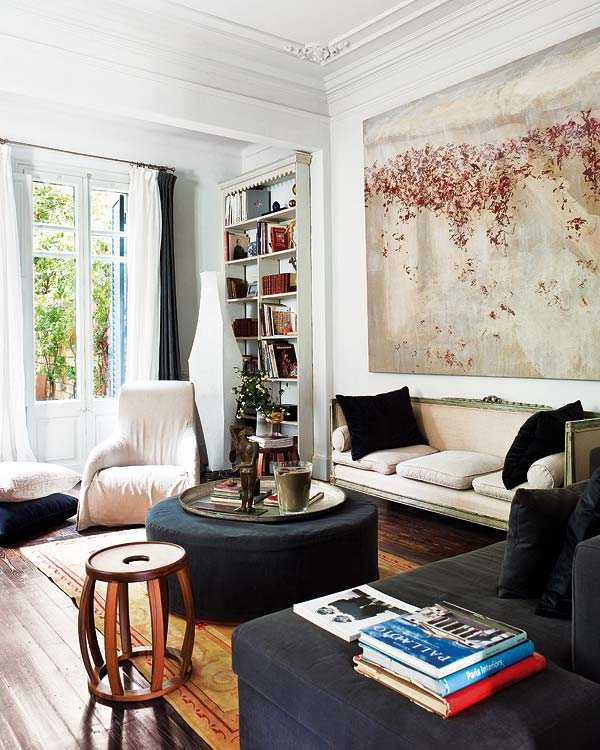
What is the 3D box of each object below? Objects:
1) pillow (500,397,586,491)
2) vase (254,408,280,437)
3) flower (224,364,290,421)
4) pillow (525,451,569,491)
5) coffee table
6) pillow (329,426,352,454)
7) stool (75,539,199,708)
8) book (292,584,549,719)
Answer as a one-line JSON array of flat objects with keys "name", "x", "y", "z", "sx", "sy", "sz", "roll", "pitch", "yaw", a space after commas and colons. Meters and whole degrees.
[{"name": "pillow", "x": 1.240, "y": 0.316, "z": 3.009, "sx": 0.437, "sy": 0.359, "sz": 0.215, "roll": -6, "pitch": 14, "yaw": -43}, {"name": "vase", "x": -0.283, "y": 0.421, "z": 5.243, "sx": 0.286, "sy": 0.259, "sz": 0.268, "roll": 1, "pitch": 0, "yaw": -1}, {"name": "flower", "x": -0.387, "y": 0.073, "z": 4.951, "sx": 0.428, "sy": 0.248, "sz": 0.469, "roll": -5, "pitch": 1, "yaw": -22}, {"name": "pillow", "x": 1.123, "y": 0.436, "z": 2.679, "sx": 0.123, "sy": 0.187, "sz": 0.340, "roll": 16, "pitch": 7, "yaw": 37}, {"name": "coffee table", "x": -0.210, "y": 0.742, "z": 2.577, "sx": 0.918, "sy": 0.310, "sz": 0.920, "roll": 2, "pitch": 0, "yaw": -29}, {"name": "pillow", "x": 0.280, "y": 0.447, "z": 4.109, "sx": 0.155, "sy": 0.135, "sz": 0.178, "roll": 11, "pitch": 7, "yaw": 16}, {"name": "stool", "x": -0.527, "y": 0.759, "z": 1.829, "sx": 0.349, "sy": 0.345, "sz": 0.357, "roll": -3, "pitch": -2, "yaw": 24}, {"name": "book", "x": 0.272, "y": 0.467, "z": 1.084, "sx": 0.161, "sy": 0.051, "sz": 0.271, "roll": -3, "pitch": 7, "yaw": -39}]
